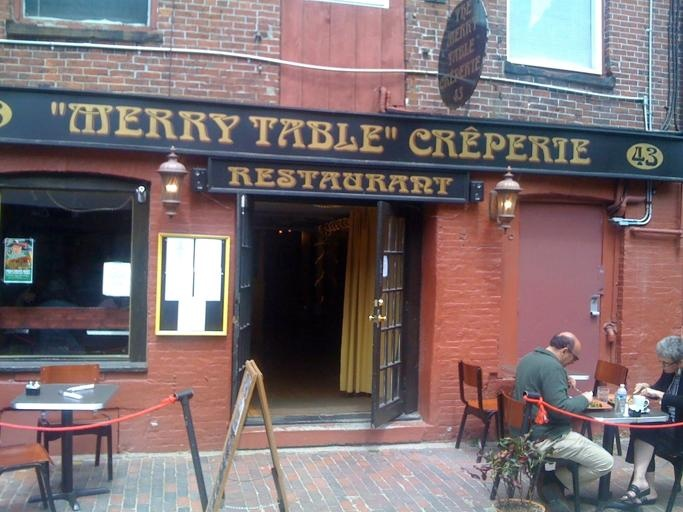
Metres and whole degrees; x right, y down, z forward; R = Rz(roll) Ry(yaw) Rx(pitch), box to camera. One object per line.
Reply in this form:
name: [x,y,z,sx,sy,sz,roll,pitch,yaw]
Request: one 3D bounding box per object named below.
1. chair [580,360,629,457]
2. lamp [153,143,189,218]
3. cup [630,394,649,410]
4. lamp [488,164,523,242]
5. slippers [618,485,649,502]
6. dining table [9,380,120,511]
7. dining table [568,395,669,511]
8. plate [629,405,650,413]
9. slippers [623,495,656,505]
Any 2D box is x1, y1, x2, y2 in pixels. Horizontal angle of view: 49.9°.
chair: [3.220,1.894,9.501,0.662,1.047,0.628,6,1,-18]
lamp: [-2.062,-0.926,9.008,0.323,0.871,0.408,0,-1,-11]
cup: [3.322,1.639,8.183,0.191,0.135,0.121,3,-6,-8]
lamp: [2.171,-0.738,9.794,0.422,0.938,0.646,-1,-1,13]
slippers: [3.295,2.677,8.267,0.430,0.149,0.142,5,-11,-34]
dining table: [-3.208,2.087,8.354,1.226,1.255,1.378,0,3,-6]
dining table: [2.920,2.093,8.442,1.171,1.083,1.118,-1,6,-24]
plate: [3.302,1.712,8.181,0.169,0.069,0.127,-2,21,6]
slippers: [3.300,2.699,8.232,0.400,0.124,0.145,4,-13,-20]
